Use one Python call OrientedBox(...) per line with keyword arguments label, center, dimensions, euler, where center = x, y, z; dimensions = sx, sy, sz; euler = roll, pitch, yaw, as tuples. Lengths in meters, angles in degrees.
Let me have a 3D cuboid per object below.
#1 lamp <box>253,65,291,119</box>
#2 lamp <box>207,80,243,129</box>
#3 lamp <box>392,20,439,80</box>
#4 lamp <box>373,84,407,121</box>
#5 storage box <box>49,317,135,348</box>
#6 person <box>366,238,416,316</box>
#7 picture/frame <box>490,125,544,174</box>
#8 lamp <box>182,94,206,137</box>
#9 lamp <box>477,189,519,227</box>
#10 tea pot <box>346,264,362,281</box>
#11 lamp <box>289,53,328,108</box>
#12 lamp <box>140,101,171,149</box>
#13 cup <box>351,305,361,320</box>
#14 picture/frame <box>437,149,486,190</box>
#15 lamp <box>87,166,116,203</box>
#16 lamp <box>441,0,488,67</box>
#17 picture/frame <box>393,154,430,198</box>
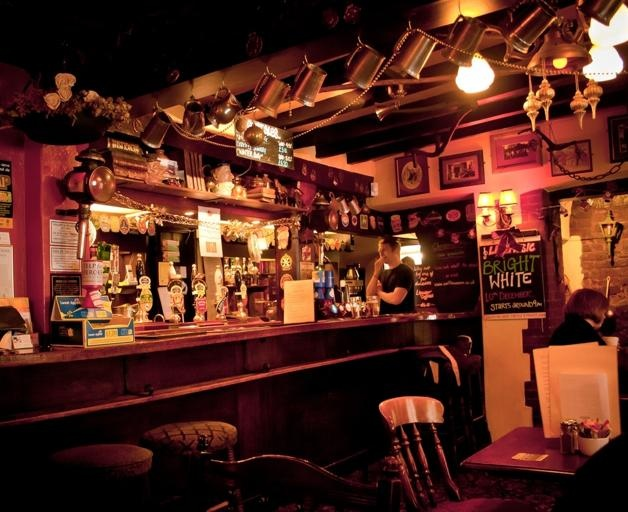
OrientedBox(label="lamp", center=(-0.285, -1.141, 3.648), dimensions=(0.202, 0.230, 0.229), euler=(-3, -4, 37))
OrientedBox(label="lamp", center=(-0.656, -1.128, 3.861), dimensions=(0.235, 0.233, 0.486), euler=(1, -4, -17))
OrientedBox(label="lamp", center=(0.631, -1.303, 3.356), dimensions=(0.257, 0.287, 0.263), euler=(33, 0, -7))
OrientedBox(label="lamp", center=(0.708, -1.420, 4.712), dimensions=(0.266, 0.333, 0.788), euler=(-1, -4, 10))
OrientedBox(label="storage box", center=(-1.230, 0.415, 2.812), dimensions=(0.236, 0.112, 0.243), euler=(-1, -2, 26))
OrientedBox(label="person", center=(0.862, 0.344, 5.790), dimensions=(0.529, 1.080, 0.614), euler=(-1, -6, 6))
OrientedBox(label="picture/frame", center=(2.431, -1.265, 6.118), dimensions=(0.666, 0.574, 0.056), euler=(-3, -1, 41))
OrientedBox(label="lamp", center=(-0.887, -1.072, 3.988), dimensions=(0.162, 0.269, 0.215), euler=(2, -35, -26))
OrientedBox(label="lamp", center=(2.220, -0.560, 6.285), dimensions=(0.509, 0.471, 0.285), euler=(-2, -4, 30))
OrientedBox(label="tea pot", center=(0.741, 0.312, 9.620), dimensions=(0.259, 0.419, 0.264), euler=(4, -7, 0))
OrientedBox(label="lamp", center=(-0.035, -1.187, 3.510), dimensions=(0.187, 0.265, 0.233), euler=(2, -4, -31))
OrientedBox(label="lamp", center=(-1.191, -0.977, 3.927), dimensions=(0.188, 0.254, 0.314), euler=(2, -4, -33))
OrientedBox(label="cup", center=(0.415, 0.558, 5.062), dimensions=(0.102, 0.122, 0.104), euler=(-1, 2, 0))
OrientedBox(label="picture/frame", center=(1.906, -1.102, 6.570), dimensions=(0.553, 0.477, 0.043), euler=(-2, -1, 38))
OrientedBox(label="lamp", center=(-1.442, -0.492, 3.504), dimensions=(0.084, 0.249, 0.216), euler=(-2, -4, 18))
OrientedBox(label="lamp", center=(0.896, -1.300, 3.069), dimensions=(0.230, 0.271, 0.324), euler=(0, -4, -7))
OrientedBox(label="picture/frame", center=(1.348, -1.080, 7.015), dimensions=(0.570, 0.641, 0.067), euler=(-7, -9, 41))
